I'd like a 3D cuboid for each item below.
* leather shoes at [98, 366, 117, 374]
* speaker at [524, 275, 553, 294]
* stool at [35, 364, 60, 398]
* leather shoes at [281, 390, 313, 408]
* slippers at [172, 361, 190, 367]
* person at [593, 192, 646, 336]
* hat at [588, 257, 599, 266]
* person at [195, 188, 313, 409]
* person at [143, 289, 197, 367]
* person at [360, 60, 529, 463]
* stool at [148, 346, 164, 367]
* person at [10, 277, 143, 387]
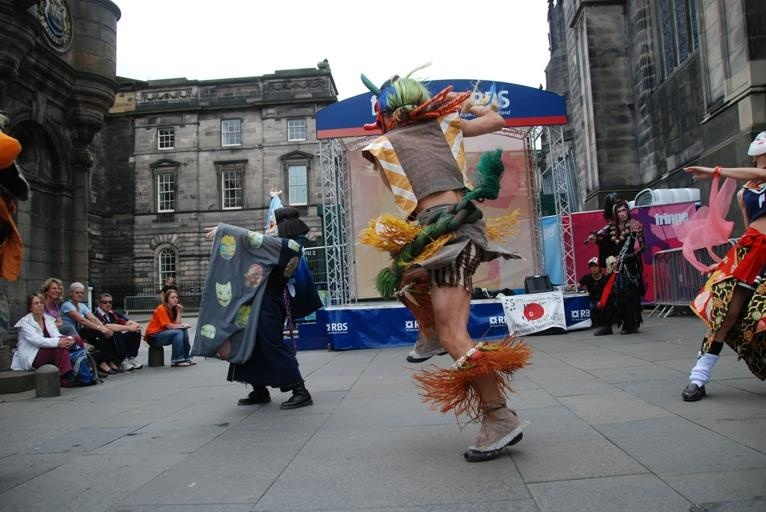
[{"bbox_3d":[-4.122,1.709,9.693,0.279,0.096,0.093,1,-1,5],"label":"leather shoes"},{"bbox_3d":[2.892,0.540,12.100,0.509,0.349,0.334,-7,-14,-7],"label":"speaker"},{"bbox_3d":[-4.290,1.590,8.265,0.343,0.399,0.327,-1,-2,17],"label":"stool"},{"bbox_3d":[-0.925,1.555,7.049,0.380,0.264,0.148,4,-15,-17],"label":"leather shoes"},{"bbox_3d":[-3.228,1.726,10.365,0.290,0.078,0.106,-3,-1,13],"label":"slippers"},{"bbox_3d":[3.854,0.153,10.683,0.858,2.245,0.861,1,12,25],"label":"person"},{"bbox_3d":[4.130,0.106,12.640,0.131,0.102,0.200,-16,-36,42],"label":"hat"},{"bbox_3d":[-1.438,0.640,7.245,1.366,1.951,0.886,-5,11,-5],"label":"person"},{"bbox_3d":[-3.533,1.209,10.578,0.708,1.229,1.032,-8,11,-18],"label":"person"},{"bbox_3d":[0.544,0.032,5.650,0.959,3.256,1.384,-14,15,-42],"label":"person"},{"bbox_3d":[-3.672,1.617,10.467,0.314,0.316,0.304,-1,-1,14],"label":"stool"},{"bbox_3d":[-4.652,1.102,9.423,1.667,1.552,1.153,7,1,12],"label":"person"}]
